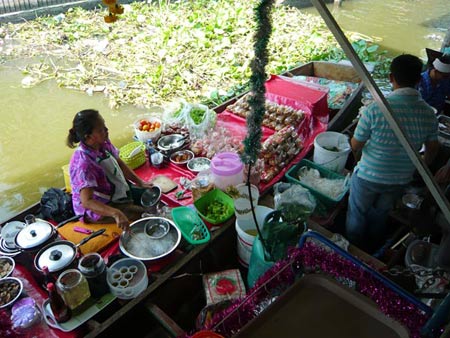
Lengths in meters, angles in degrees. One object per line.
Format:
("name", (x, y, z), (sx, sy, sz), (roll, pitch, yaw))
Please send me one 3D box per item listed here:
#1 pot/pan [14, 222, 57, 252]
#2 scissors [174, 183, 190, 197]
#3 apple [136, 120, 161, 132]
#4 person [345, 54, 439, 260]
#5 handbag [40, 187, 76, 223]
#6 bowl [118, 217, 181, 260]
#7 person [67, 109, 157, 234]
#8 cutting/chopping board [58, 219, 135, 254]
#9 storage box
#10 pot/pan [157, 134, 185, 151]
("pot/pan", (-1.960, 0.685, 3.188), (0.289, 0.106, 0.293), (-2, 39, -3))
("scissors", (-0.592, 0.300, 4.267), (0.083, 0.023, 0.282), (13, 40, 27))
("apple", (-1.263, -0.700, 5.033), (0.268, 0.129, 0.271), (3, 24, 6))
("person", (1.989, -0.065, 3.940), (0.891, 2.637, 0.756), (7, 39, 16))
("handbag", (-2.147, 0.457, 4.097), (0.439, 0.413, 0.403), (14, 31, 9))
("bowl", (-0.960, 0.741, 3.739), (0.709, 0.154, 0.695), (11, 21, -4))
("person", (-1.458, 0.080, 4.033), (0.994, 1.744, 1.090), (1, 47, -9))
("cutting/chopping board", (-1.600, 0.771, 3.621), (0.409, 0.068, 0.429), (26, 38, 35))
("storage box", (1.223, 0.181, 4.380), (0.883, 0.283, 0.604), (34, 56, 31))
("pot/pan", (-0.843, -0.424, 4.913), (0.337, 0.097, 0.270), (2, 46, 7))
